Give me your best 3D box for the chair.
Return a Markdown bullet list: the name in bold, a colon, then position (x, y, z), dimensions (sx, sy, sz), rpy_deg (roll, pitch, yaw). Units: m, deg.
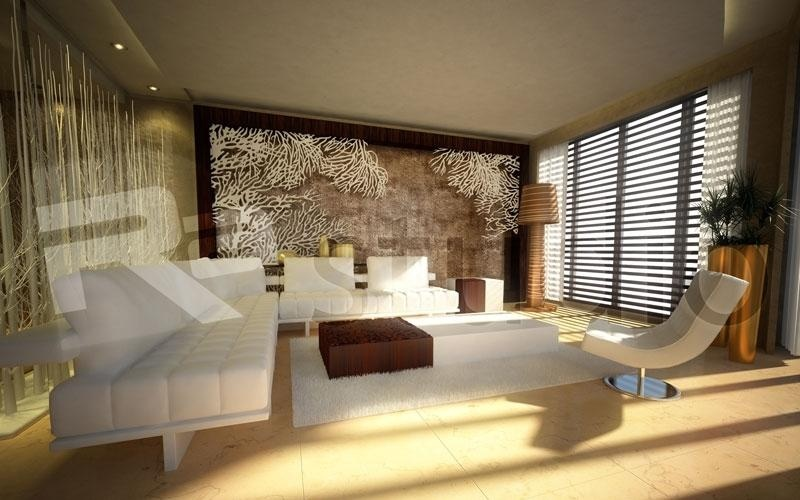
- **chair**: position (2.579, 0.813, 5.112), dimensions (1.623, 1.498, 1.116), rpy_deg (-2, -1, 21)
